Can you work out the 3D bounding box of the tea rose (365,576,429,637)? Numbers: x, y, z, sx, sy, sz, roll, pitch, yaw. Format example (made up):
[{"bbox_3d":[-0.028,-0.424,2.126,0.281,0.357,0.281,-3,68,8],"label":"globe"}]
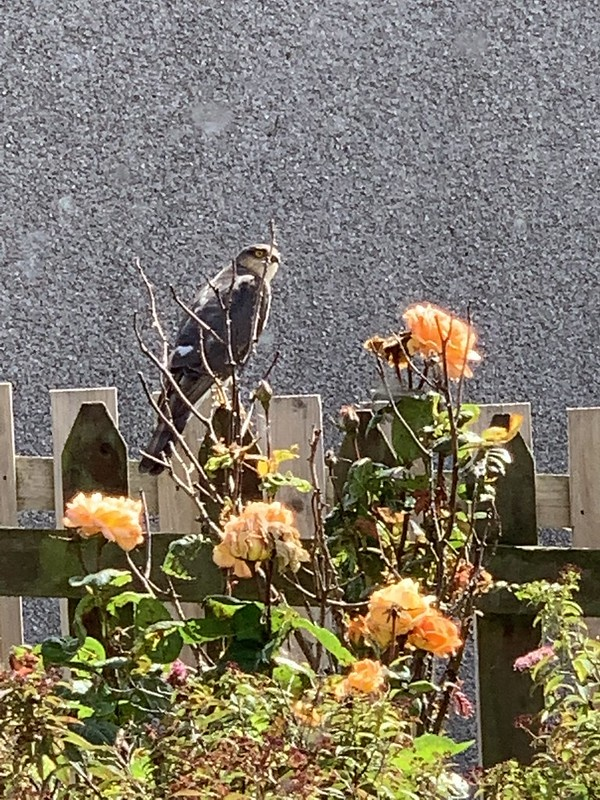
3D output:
[{"bbox_3d":[0.239,0.517,5.850,0.147,0.148,0.086,-4,-11,27],"label":"tea rose"}]

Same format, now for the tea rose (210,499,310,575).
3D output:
[{"bbox_3d":[-0.112,0.291,5.852,0.168,0.180,0.154,30,10,28],"label":"tea rose"}]

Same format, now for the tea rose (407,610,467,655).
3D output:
[{"bbox_3d":[0.338,0.588,5.862,0.122,0.116,0.074,34,-16,-1],"label":"tea rose"}]

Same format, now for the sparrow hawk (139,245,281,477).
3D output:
[{"bbox_3d":[-0.279,-0.122,7.664,0.641,0.679,0.270,-34,53,-24],"label":"sparrow hawk"}]

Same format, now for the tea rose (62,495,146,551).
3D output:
[{"bbox_3d":[-0.508,0.313,6.060,0.199,0.176,0.183,-2,14,-2],"label":"tea rose"}]

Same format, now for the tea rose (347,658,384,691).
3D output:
[{"bbox_3d":[0.168,0.683,5.777,0.084,0.077,0.054,-6,-22,24],"label":"tea rose"}]

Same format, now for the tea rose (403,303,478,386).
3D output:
[{"bbox_3d":[0.372,-0.144,6.032,0.198,0.206,0.256,1,14,11],"label":"tea rose"}]
